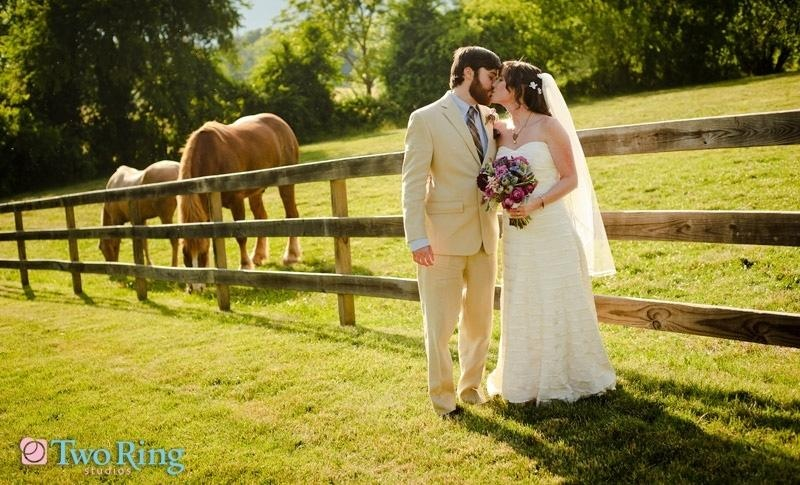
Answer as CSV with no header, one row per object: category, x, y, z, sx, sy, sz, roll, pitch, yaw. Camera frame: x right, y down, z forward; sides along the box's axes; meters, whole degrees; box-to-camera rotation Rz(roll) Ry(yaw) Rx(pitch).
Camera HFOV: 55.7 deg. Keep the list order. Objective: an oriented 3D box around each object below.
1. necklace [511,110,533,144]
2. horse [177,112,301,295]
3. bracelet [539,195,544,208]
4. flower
necklace,2.157,-2.048,13.565,0.205,0.659,0.121,26,1,-14
horse,-4.082,-1.080,19.417,1.609,3.931,5.747,-3,11,15
bracelet,2.494,-0.712,13.304,0.115,0.181,0.070,-4,5,-6
flower,2.017,-0.845,13.445,1.066,1.143,1.135,-21,18,-29
